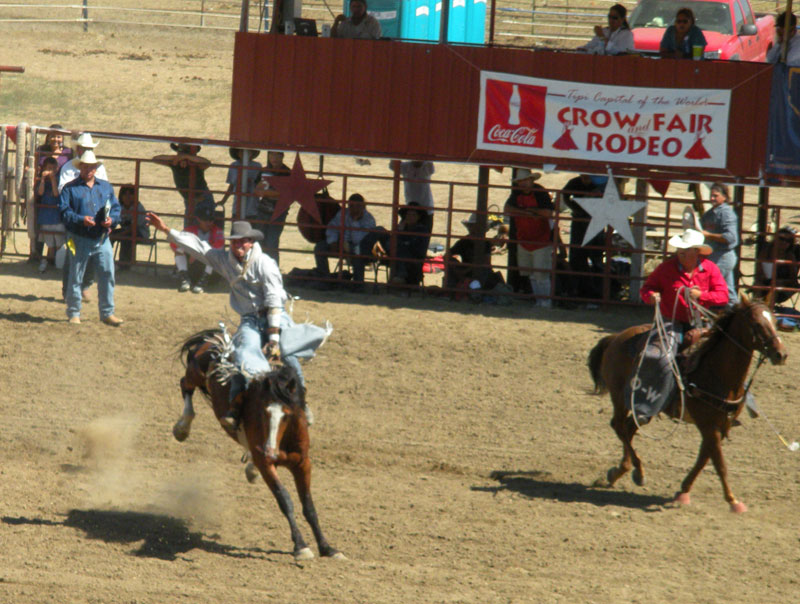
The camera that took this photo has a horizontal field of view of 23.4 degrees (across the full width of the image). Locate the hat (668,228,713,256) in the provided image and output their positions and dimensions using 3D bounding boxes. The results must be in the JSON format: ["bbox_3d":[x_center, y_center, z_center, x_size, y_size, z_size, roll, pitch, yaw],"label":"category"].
[{"bbox_3d":[4.328,-0.876,28.302,0.504,0.218,0.450,21,-6,-39],"label":"hat"}]

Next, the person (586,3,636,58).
[{"bbox_3d":[3.753,-4.769,33.841,0.812,0.867,1.343,1,8,-14],"label":"person"}]

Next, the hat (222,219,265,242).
[{"bbox_3d":[-2.213,-1.029,27.713,0.452,0.261,0.367,0,8,-20],"label":"hat"}]

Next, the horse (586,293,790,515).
[{"bbox_3d":[4.280,1.460,28.925,1.034,3.342,3.719,-10,14,-42],"label":"horse"}]

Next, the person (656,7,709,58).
[{"bbox_3d":[4.938,-4.636,33.399,0.743,0.835,0.703,4,8,8],"label":"person"}]

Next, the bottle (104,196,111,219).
[{"bbox_3d":[-4.766,-1.538,31.571,0.079,0.323,0.068,10,-10,-41],"label":"bottle"}]

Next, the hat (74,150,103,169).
[{"bbox_3d":[-5.184,-2.375,32.130,0.580,0.298,0.695,2,-4,-16],"label":"hat"}]

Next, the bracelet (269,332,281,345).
[{"bbox_3d":[-1.771,0.485,27.635,0.129,0.137,0.126,1,-14,-13],"label":"bracelet"}]

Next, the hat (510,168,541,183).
[{"bbox_3d":[2.232,-2.203,33.808,0.442,0.289,0.638,4,8,6],"label":"hat"}]

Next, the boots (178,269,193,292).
[{"bbox_3d":[-3.752,-0.394,33.908,0.159,0.336,0.458,-2,-9,-2],"label":"boots"}]

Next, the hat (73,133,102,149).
[{"bbox_3d":[-5.180,-2.753,32.073,0.427,0.229,0.534,14,-14,-12],"label":"hat"}]

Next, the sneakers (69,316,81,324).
[{"bbox_3d":[-5.358,0.271,31.947,0.111,0.152,0.165,4,-6,-39],"label":"sneakers"}]

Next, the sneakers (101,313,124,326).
[{"bbox_3d":[-4.751,0.274,32.018,0.309,0.223,0.170,-8,24,7],"label":"sneakers"}]

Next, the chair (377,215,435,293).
[{"bbox_3d":[0.109,-1.019,33.933,0.909,1.455,0.755,3,8,2],"label":"chair"}]

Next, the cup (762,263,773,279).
[{"bbox_3d":[6.346,-0.568,33.195,0.218,0.263,0.226,1,-5,0],"label":"cup"}]
